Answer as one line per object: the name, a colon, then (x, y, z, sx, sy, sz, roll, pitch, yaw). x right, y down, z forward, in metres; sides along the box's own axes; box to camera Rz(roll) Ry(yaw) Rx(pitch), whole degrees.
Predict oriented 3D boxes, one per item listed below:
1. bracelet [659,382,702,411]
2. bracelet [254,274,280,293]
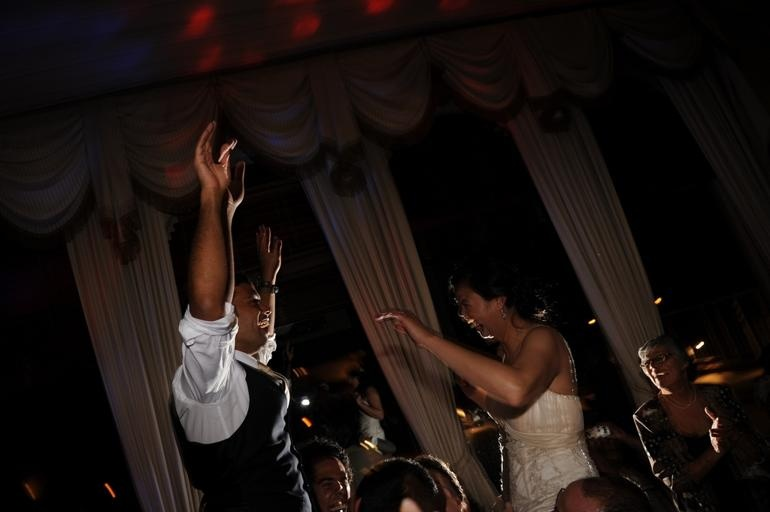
bracelet: (2.167, 1.044, 4.071, 0.164, 0.216, 0.286, -6, -28, 39)
bracelet: (-0.829, 0.191, 3.858, 0.175, 0.134, 0.159, 9, -4, -19)
